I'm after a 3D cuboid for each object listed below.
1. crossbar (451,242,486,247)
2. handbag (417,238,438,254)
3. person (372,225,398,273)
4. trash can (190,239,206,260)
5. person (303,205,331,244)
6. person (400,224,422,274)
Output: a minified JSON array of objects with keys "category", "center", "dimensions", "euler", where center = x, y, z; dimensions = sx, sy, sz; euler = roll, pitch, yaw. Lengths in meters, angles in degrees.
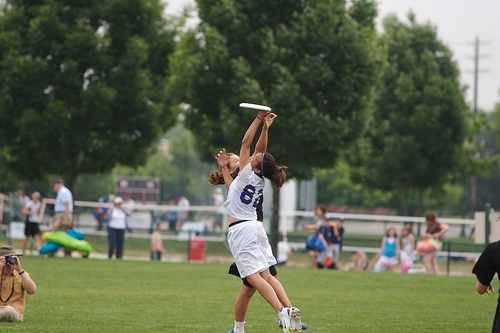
[{"category":"crossbar","center":[6.163,2.231,38.048],"dimensions":[0.633,0.093,0.148],"euler":[2,-10,19]},{"category":"handbag","center":[4.507,2.068,34.810],"dimensions":[0.576,0.316,0.513],"euler":[8,-8,-8]},{"category":"person","center":[3.177,2.007,31.810],"dimensions":[0.608,1.057,0.210],"euler":[2,-4,5]},{"category":"trash can","center":[-1.720,2.701,43.336],"dimensions":[0.396,0.667,0.284],"euler":[2,-4,2]},{"category":"person","center":[2.070,1.748,40.535],"dimensions":[0.516,1.082,1.295],"euler":[3,-4,-13]},{"category":"person","center":[3.694,1.992,31.923],"dimensions":[0.234,1.154,0.518],"euler":[-1,-5,37]}]
